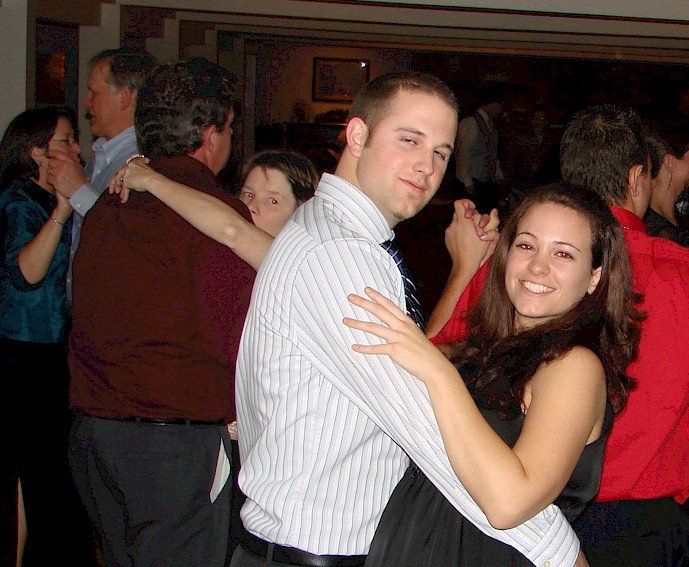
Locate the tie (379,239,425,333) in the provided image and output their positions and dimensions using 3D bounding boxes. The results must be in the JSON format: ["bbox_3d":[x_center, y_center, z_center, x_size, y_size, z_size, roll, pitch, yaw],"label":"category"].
[{"bbox_3d":[0.156,0.018,1.412,0.057,0.214,0.132,-22,17,10],"label":"tie"}]

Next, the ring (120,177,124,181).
[{"bbox_3d":[-0.681,-0.318,1.779,0.013,0.012,0.005,0,-10,30],"label":"ring"}]

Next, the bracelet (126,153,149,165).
[{"bbox_3d":[-0.687,-0.405,1.901,0.086,0.020,0.086,1,3,11],"label":"bracelet"}]

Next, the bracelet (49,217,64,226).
[{"bbox_3d":[-1.216,-0.261,2.467,0.041,0.032,0.017,-3,14,-41],"label":"bracelet"}]
